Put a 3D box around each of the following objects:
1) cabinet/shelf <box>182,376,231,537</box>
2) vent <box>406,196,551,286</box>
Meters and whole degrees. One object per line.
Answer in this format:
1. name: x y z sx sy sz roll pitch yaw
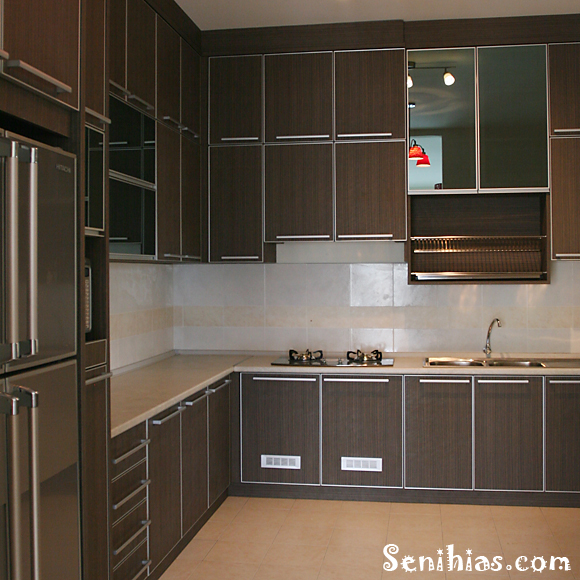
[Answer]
1. cabinet/shelf: -0.489 0.943 3.414 0.252 0.712 0.740 -1 2 9
2. vent: 1.324 -0.335 4.263 0.909 0.708 0.311 1 -16 16
